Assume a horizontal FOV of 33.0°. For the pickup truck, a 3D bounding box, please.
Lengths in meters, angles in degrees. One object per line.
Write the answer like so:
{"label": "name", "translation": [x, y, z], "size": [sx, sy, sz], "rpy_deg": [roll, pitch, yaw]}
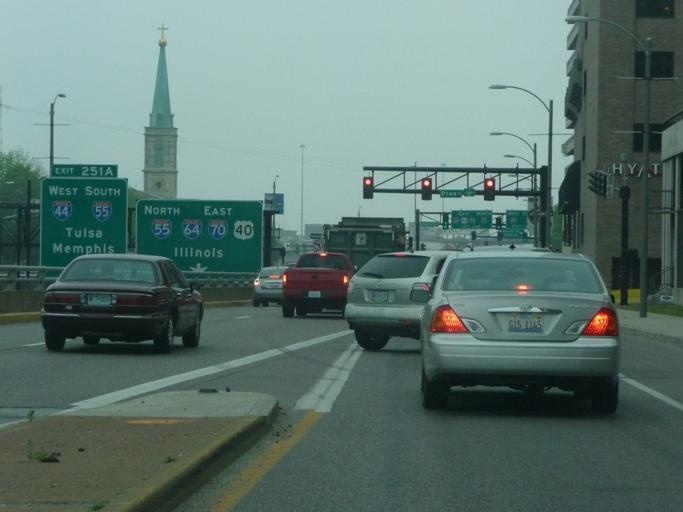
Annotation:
{"label": "pickup truck", "translation": [-0.489, 0.889, 33.633], "size": [1.961, 1.963, 4.355], "rpy_deg": [0, -2, 4]}
